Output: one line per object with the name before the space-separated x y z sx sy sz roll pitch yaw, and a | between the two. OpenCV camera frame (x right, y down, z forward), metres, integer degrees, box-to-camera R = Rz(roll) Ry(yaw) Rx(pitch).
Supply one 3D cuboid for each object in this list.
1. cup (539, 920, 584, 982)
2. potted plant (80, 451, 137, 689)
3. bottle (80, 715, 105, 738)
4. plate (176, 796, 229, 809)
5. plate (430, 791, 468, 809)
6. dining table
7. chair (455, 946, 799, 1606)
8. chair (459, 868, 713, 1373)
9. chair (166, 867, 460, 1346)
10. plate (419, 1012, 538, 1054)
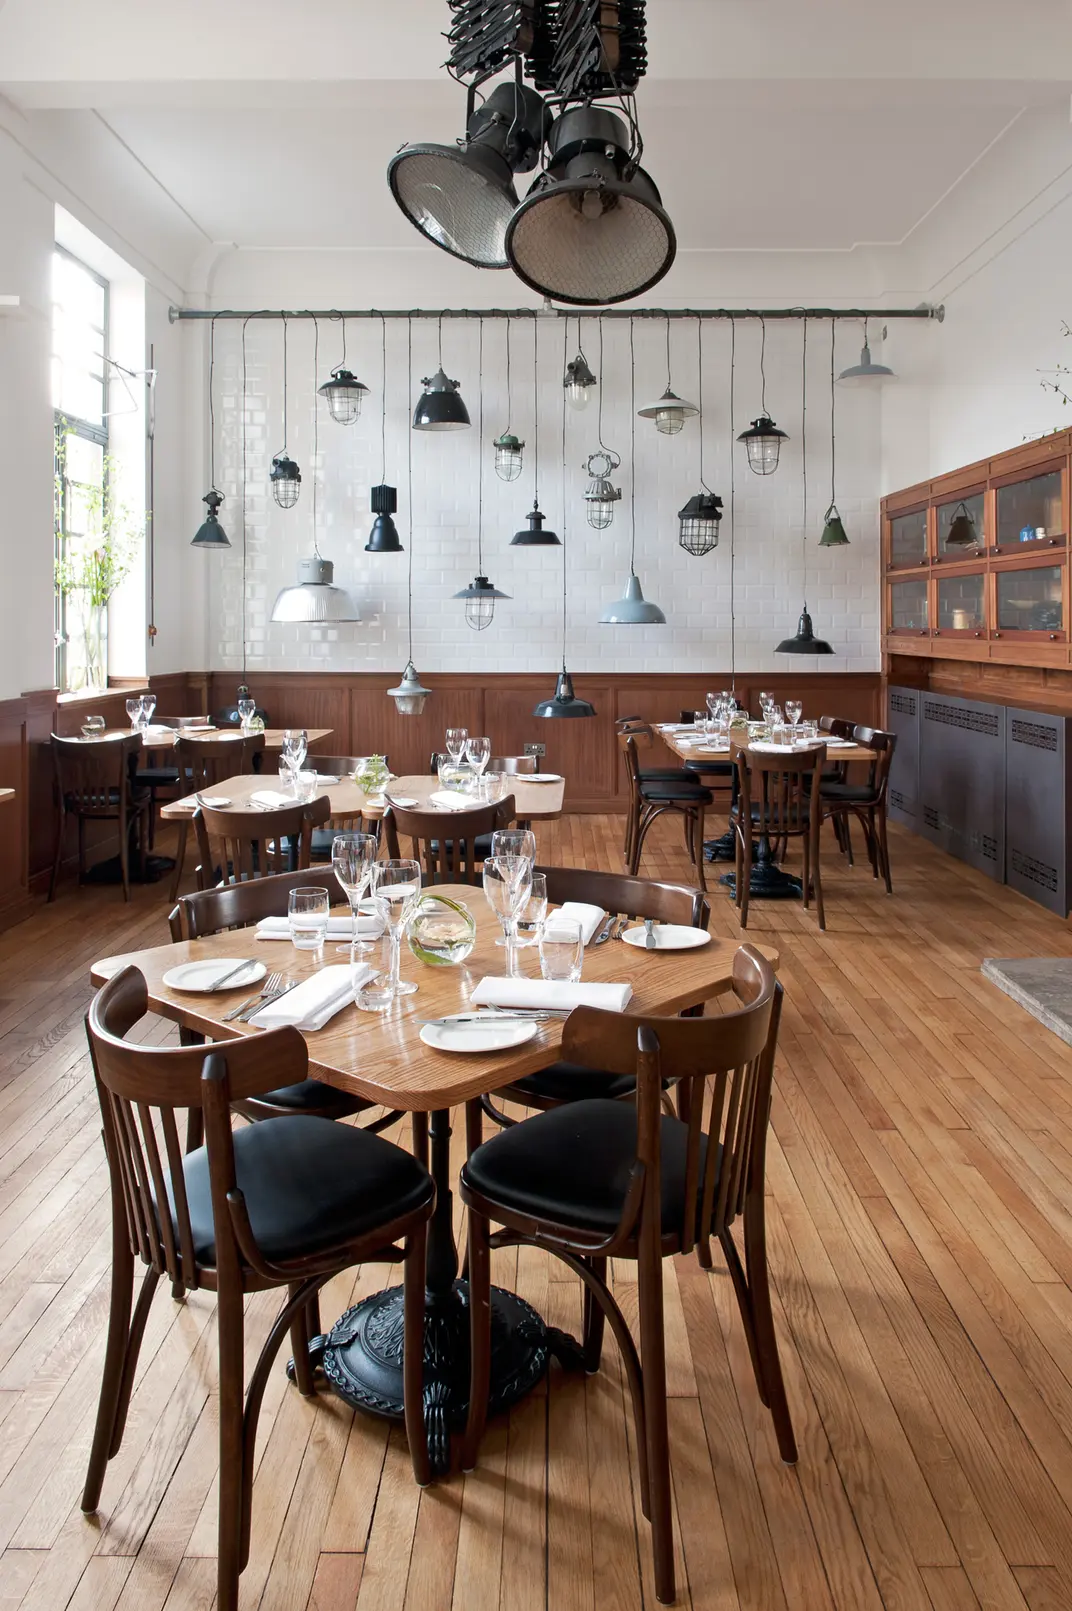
cup | 0.041 0.219 1.742 0.066 0.125 0.076 -4 10 -16
potted plant | -2.618 -1.421 6.669 0.261 1.444 0.776 -1 5 -15
bottle | -2.262 -0.383 5.617 0.104 0.118 0.116 -2 -4 26
plate | -1.176 -0.003 3.880 0.103 0.029 0.117 1 4 -7
plate | -0.293 -0.016 3.775 0.130 0.030 0.453 0 6 -6
dining table | -0.111 0.415 1.734 0.795 0.781 0.812 9 15 37
chair | 0.209 0.511 1.796 0.582 1.118 0.575 7 9 38
chair | 0.111 0.505 2.246 0.591 0.996 0.774 0 -1 6
chair | -0.445 0.417 2.236 0.588 0.972 0.763 -2 8 -12
plate | -0.069 0.287 1.393 0.149 0.019 0.170 1 6 -2
